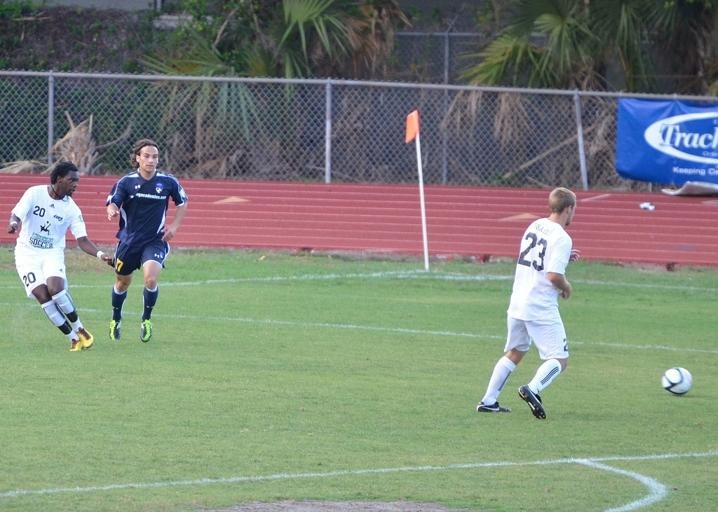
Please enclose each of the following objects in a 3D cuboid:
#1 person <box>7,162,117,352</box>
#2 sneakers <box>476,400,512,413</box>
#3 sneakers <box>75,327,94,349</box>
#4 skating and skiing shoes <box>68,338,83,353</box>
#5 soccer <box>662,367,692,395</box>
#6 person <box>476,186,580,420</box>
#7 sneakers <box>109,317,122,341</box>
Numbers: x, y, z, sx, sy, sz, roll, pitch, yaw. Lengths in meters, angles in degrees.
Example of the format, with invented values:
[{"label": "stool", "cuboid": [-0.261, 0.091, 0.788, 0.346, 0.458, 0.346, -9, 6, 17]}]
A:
[{"label": "person", "cuboid": [-3.981, -0.038, 18.943, 1.149, 2.397, 1.112, -3, 14, -20]}, {"label": "sneakers", "cuboid": [1.563, 1.764, 16.939, 0.456, 0.140, 0.137, 0, 0, -9]}, {"label": "sneakers", "cuboid": [-3.568, 1.068, 18.783, 0.156, 0.299, 0.142, -38, -12, -1]}, {"label": "skating and skiing shoes", "cuboid": [-3.667, 1.144, 18.678, 0.153, 0.133, 0.204, 0, 12, -8]}, {"label": "soccer", "cuboid": [3.875, 1.506, 17.747, 0.381, 0.315, 0.347, 18, 5, 5]}, {"label": "person", "cuboid": [2.031, 0.535, 16.855, 0.936, 2.610, 0.996, 4, 14, 7]}, {"label": "sneakers", "cuboid": [-3.238, 0.965, 19.305, 0.131, 0.307, 0.155, -4, 15, -15]}]
